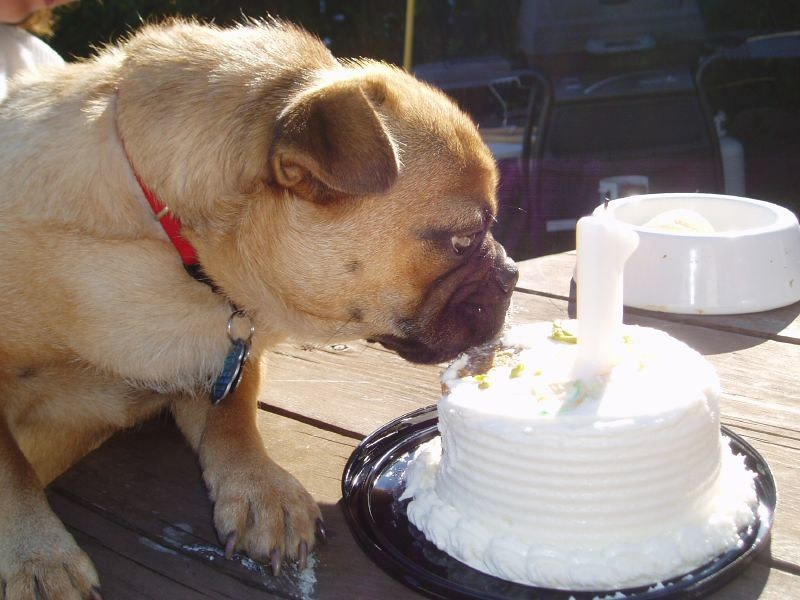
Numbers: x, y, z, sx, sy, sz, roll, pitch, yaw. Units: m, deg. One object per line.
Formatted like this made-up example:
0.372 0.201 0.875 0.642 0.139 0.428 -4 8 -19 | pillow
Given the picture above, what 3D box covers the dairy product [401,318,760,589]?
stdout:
0.372 0.295 1.382 0.725 0.321 0.524 -5 21 -10 | dairy product
